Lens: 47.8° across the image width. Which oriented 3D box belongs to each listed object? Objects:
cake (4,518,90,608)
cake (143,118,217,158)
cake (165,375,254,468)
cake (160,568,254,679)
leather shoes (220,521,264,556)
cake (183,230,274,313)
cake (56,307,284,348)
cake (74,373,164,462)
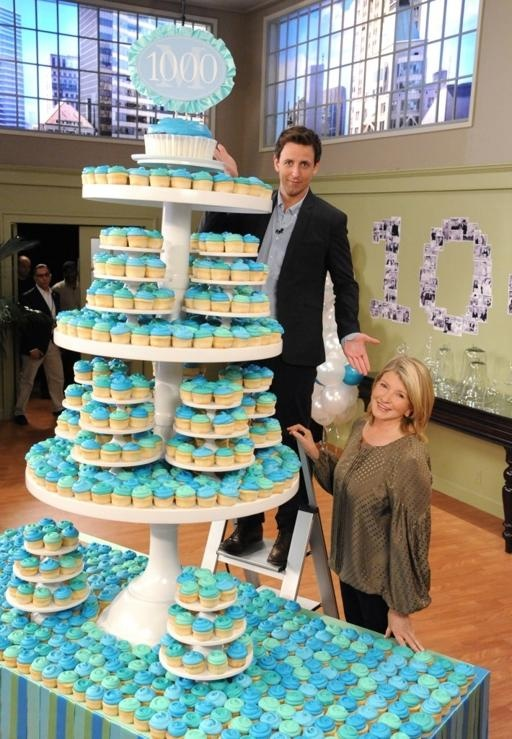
[{"bbox_3d":[-0.591,0.588,1.811,0.281,0.252,0.268,4,10,-1],"label":"cake"},{"bbox_3d":[-0.208,-0.643,1.619,0.194,0.127,0.146,1,8,-11],"label":"cake"},{"bbox_3d":[-0.120,0.118,1.649,0.268,0.259,0.252,0,11,-9],"label":"cake"},{"bbox_3d":[-0.113,0.588,1.450,0.248,0.248,0.242,0,3,-8],"label":"cake"},{"bbox_3d":[-0.047,0.667,2.292,0.083,0.137,0.199,-3,-4,42],"label":"leather shoes"},{"bbox_3d":[-0.077,-0.293,1.736,0.266,0.184,0.268,0,12,-5],"label":"cake"},{"bbox_3d":[-0.214,-0.117,1.624,0.650,0.082,0.424,0,8,-19],"label":"cake"},{"bbox_3d":[-0.385,0.154,1.639,0.253,0.162,0.241,2,17,-3],"label":"cake"}]
